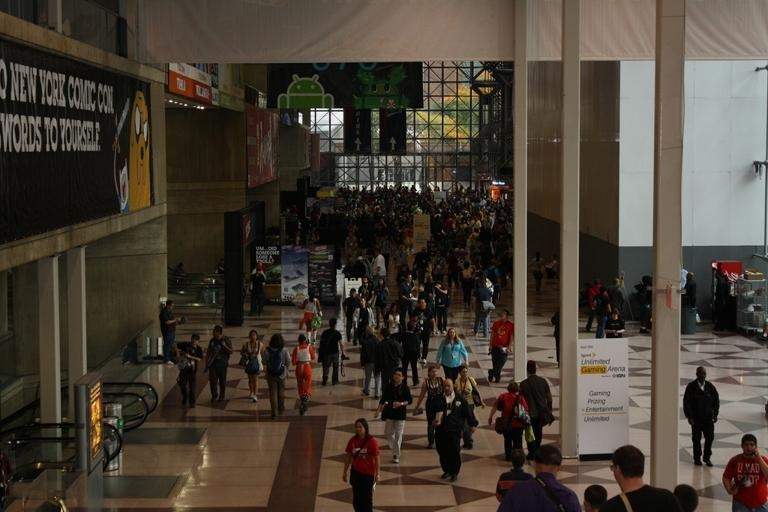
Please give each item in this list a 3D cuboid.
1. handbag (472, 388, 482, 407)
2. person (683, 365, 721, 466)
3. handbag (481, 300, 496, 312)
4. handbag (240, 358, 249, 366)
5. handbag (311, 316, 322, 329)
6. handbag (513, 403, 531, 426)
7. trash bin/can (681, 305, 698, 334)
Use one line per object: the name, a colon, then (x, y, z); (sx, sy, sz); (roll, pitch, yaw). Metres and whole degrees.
handbag: (1.660, 2.546, 13.201); (0.144, 0.305, 0.246); (0, 2, -11)
person: (5.511, 2.774, 12.898); (0.538, 1.813, 1.116); (1, 2, 22)
handbag: (2.905, 1.400, 20.360); (0.277, 0.136, 0.285); (8, -2, 43)
handbag: (-3.121, 2.407, 16.542); (0.264, 0.078, 0.306); (0, 11, 13)
handbag: (-1.838, 1.809, 20.035); (0.171, 0.415, 0.522); (1, 2, 6)
handbag: (2.332, 2.688, 12.461); (0.254, 0.387, 0.153); (-4, -10, -36)
trash bin/can: (8.980, 1.919, 21.774); (0.412, 0.772, 0.290); (1, 2, 10)
